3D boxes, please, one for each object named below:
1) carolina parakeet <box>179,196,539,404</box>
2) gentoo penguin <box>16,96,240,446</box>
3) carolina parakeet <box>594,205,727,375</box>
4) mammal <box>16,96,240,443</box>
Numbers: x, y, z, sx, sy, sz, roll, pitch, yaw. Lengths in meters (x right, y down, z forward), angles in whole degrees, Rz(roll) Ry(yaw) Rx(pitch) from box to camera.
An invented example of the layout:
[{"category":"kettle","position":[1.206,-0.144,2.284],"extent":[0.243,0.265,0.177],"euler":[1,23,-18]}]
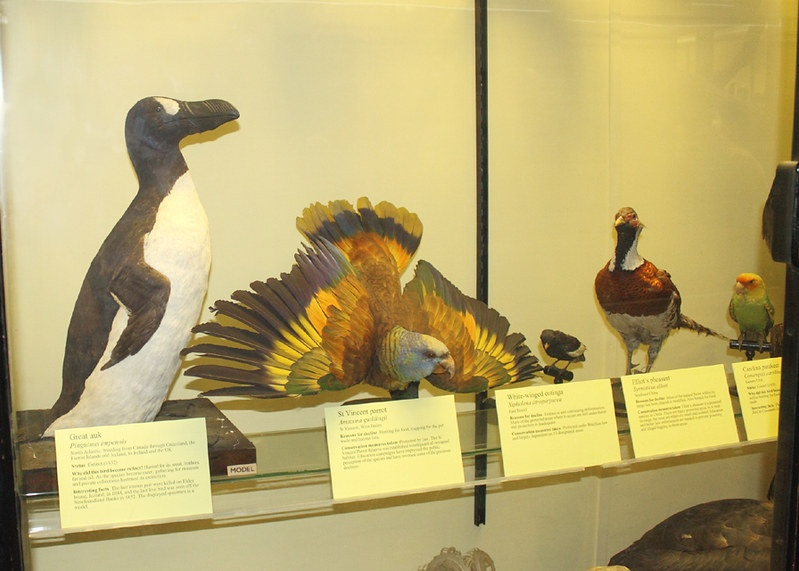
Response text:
[{"category":"carolina parakeet","position":[-0.049,0.003,1.176],"extent":[0.485,0.380,0.223],"euler":[-7,-26,-13]},{"category":"gentoo penguin","position":[-0.367,-0.031,1.123],"extent":[0.211,0.467,0.211],"euler":[1,5,15]},{"category":"carolina parakeet","position":[0.448,0.013,1.368],"extent":[0.292,0.273,0.133],"euler":[0,3,-40]},{"category":"mammal","position":[-0.349,-0.030,1.122],"extent":[0.273,0.462,0.230],"euler":[-4,8,-20]}]
